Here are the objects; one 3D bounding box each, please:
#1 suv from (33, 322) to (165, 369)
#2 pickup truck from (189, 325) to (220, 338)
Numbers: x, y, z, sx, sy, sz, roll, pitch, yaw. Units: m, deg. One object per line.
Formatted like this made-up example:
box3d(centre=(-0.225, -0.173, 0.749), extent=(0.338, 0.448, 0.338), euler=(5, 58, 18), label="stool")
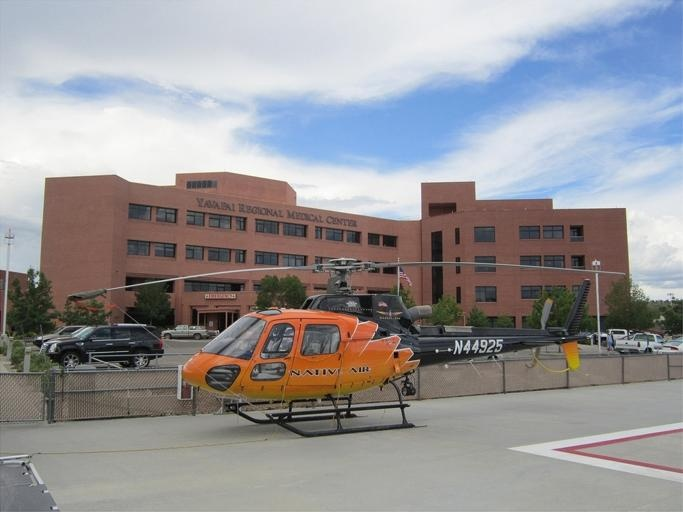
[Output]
box3d(centre=(-10.322, 4.119, 28.843), extent=(6.104, 2.070, 2.326), euler=(2, -6, -22), label="suv")
box3d(centre=(-12.906, 7.113, 61.530), extent=(1.972, 0.924, 3.138), euler=(0, -8, 2), label="pickup truck")
